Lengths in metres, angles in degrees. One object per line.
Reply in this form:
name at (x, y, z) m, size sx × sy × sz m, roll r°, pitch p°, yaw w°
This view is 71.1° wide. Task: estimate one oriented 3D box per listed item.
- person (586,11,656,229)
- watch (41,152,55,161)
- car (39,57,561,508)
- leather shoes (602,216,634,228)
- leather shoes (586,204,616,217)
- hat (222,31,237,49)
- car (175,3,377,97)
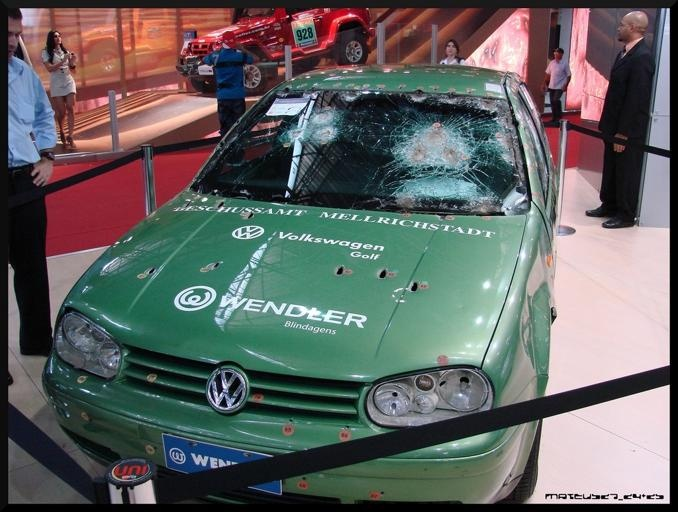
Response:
person at (3.074, -1.414, 5.057) m, size 0.525 × 2.188 × 0.727 m, roll 5°, pitch 25°, yaw 13°
watch at (-1.714, -0.578, 2.759) m, size 0.054 × 0.034 × 0.062 m, roll -3°, pitch 13°, yaw -43°
car at (0.163, -0.058, 2.440) m, size 1.759 × 1.021 × 2.501 m, roll 5°, pitch 23°, yaw 18°
leather shoes at (3.078, -0.365, 5.258) m, size 0.378 × 0.127 × 0.130 m, roll 0°, pitch 17°, yaw 0°
leather shoes at (3.073, -0.530, 5.604) m, size 0.350 × 0.134 × 0.122 m, roll 2°, pitch 15°, yaw 7°
hat at (-1.483, -2.851, 6.267) m, size 0.184 × 0.209 × 0.350 m, roll -5°, pitch 23°, yaw -11°
car at (-1.112, -3.679, 8.661) m, size 3.620 × 1.498 × 1.953 m, roll -24°, pitch 36°, yaw -27°
